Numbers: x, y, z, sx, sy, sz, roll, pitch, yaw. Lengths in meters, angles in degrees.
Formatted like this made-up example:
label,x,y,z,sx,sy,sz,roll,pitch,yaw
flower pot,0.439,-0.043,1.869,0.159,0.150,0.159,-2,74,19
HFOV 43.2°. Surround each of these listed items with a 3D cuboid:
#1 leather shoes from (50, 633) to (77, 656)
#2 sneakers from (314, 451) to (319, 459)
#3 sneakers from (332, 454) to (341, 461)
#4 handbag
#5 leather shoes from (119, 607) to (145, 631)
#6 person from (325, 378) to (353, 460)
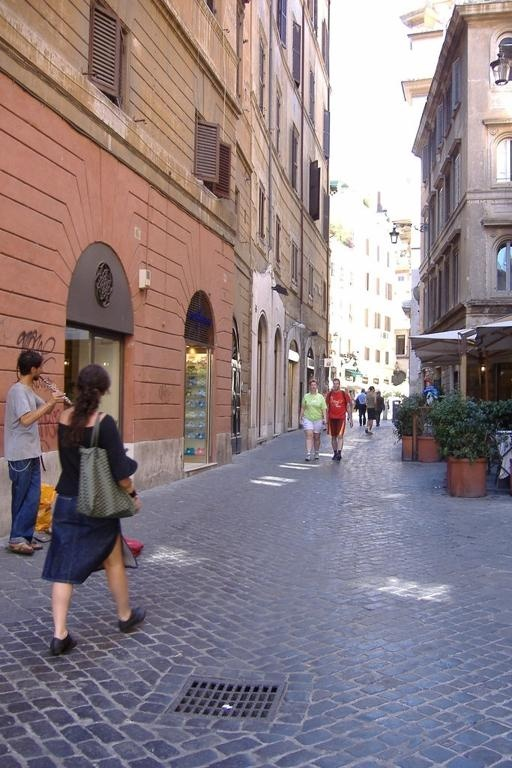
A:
label,x,y,z,sx,sy,sz,roll,pitch,yaw
leather shoes,-0.963,1.296,3.239,0.047,0.088,0.157,2,1,9
sneakers,1.422,1.729,15.174,0.049,0.244,0.085,3,-10,10
sneakers,1.834,1.691,14.760,0.184,0.174,0.276,0,-4,0
handbag,-0.826,0.460,3.467,0.193,0.464,0.377,-29,10,-13
leather shoes,-0.695,1.339,3.683,0.060,0.112,0.201,4,20,17
person,1.925,0.853,15.227,0.481,2.073,0.585,3,17,18
